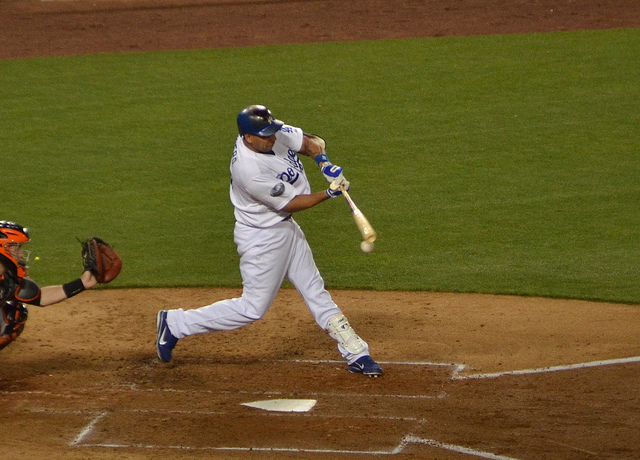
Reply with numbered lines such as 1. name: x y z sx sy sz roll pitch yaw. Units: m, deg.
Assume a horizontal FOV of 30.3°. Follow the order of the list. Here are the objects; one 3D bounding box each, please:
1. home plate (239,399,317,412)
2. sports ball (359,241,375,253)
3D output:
1. home plate: -0.467 2.022 13.676 0.820 0.066 0.230 -2 18 1
2. sports ball: 0.541 0.197 13.892 0.137 0.186 0.188 -2 21 3
